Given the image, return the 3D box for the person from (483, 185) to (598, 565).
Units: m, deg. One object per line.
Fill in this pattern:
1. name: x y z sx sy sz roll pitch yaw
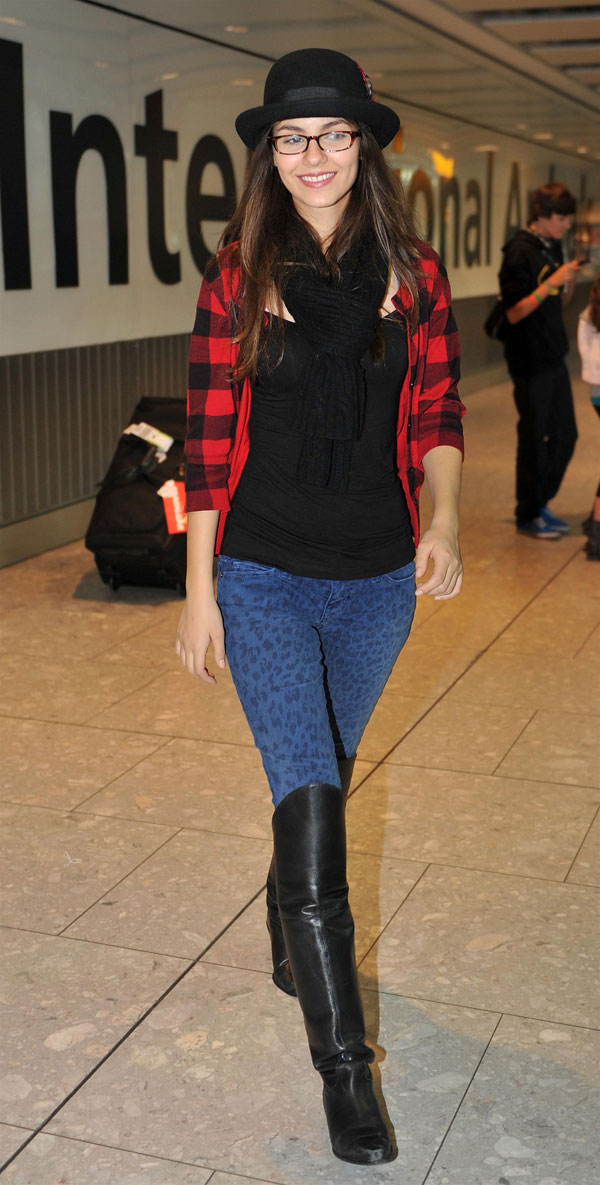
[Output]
1. person: 1.640 -1.536 6.135 0.766 2.899 1.009 4 32 24

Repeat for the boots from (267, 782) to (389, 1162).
1. boots: 0.051 0.528 1.267 0.171 0.537 0.116 0 6 1

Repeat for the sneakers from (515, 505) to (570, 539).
1. sneakers: 1.721 -0.512 6.384 0.305 0.139 0.191 8 23 25

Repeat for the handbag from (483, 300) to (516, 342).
1. handbag: 1.374 -1.858 6.210 0.104 0.188 0.153 -25 67 -45

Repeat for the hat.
1. hat: 0.003 -0.709 1.288 0.176 0.078 0.159 -9 19 -29
